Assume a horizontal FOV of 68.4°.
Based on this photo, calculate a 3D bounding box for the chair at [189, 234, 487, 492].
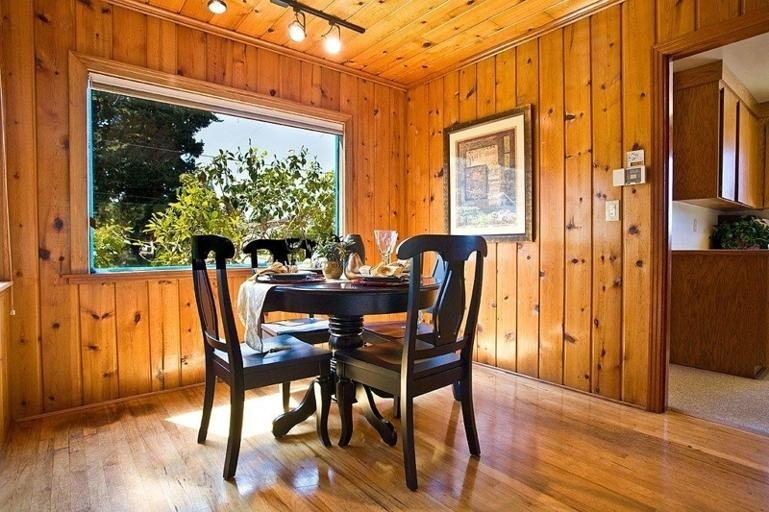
[{"bbox_3d":[-0.131,0.595,4.305,1.760,1.141,1.719,0,2,-4],"label":"chair"}]

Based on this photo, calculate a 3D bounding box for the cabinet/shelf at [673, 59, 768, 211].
[{"bbox_3d":[3.260,-1.216,5.520,0.415,0.856,1.445,-1,-1,38],"label":"cabinet/shelf"}]

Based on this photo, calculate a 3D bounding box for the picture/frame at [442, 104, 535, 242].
[{"bbox_3d":[0.930,-0.721,5.117,0.952,1.149,0.084,2,4,44],"label":"picture/frame"}]
